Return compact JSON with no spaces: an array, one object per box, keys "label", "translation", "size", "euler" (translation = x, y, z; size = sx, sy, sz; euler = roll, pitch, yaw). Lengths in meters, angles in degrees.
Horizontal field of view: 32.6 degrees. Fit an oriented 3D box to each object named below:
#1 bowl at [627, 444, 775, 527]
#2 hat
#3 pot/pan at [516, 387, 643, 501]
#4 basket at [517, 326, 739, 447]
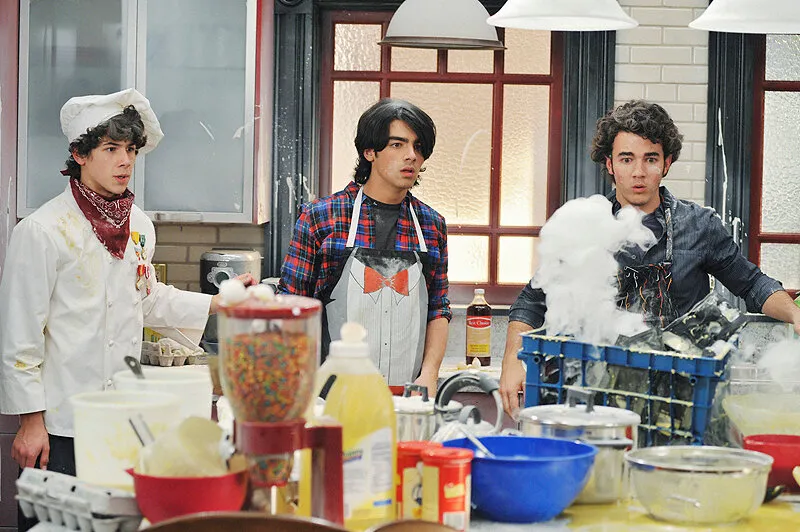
[{"label":"bowl","translation":[1.006,0.754,4.650],"size":[0.300,0.137,0.313],"euler":[-1,-1,0]},{"label":"hat","translation":[-1.233,-0.620,5.789],"size":[0.286,0.170,0.303],"euler":[-12,1,-13]},{"label":"pot/pan","translation":[0.623,0.582,4.748],"size":[0.351,0.304,0.392],"euler":[2,-3,-25]},{"label":"basket","translation":[0.850,0.410,5.087],"size":[0.581,0.298,0.453],"euler":[3,1,21]}]
